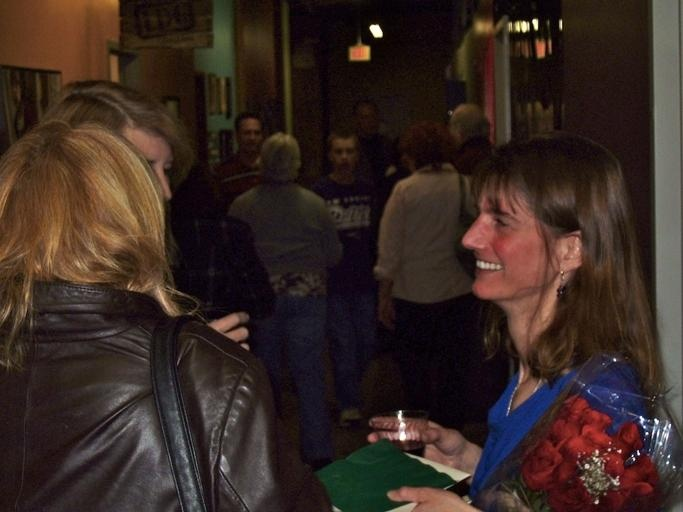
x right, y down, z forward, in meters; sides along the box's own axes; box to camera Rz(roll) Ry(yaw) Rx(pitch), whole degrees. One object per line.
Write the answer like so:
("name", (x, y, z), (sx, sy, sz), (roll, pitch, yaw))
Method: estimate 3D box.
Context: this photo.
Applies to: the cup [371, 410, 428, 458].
("cup", (0.181, 0.518, 2.009), (0.121, 0.095, 0.139), (0, -20, 0))
